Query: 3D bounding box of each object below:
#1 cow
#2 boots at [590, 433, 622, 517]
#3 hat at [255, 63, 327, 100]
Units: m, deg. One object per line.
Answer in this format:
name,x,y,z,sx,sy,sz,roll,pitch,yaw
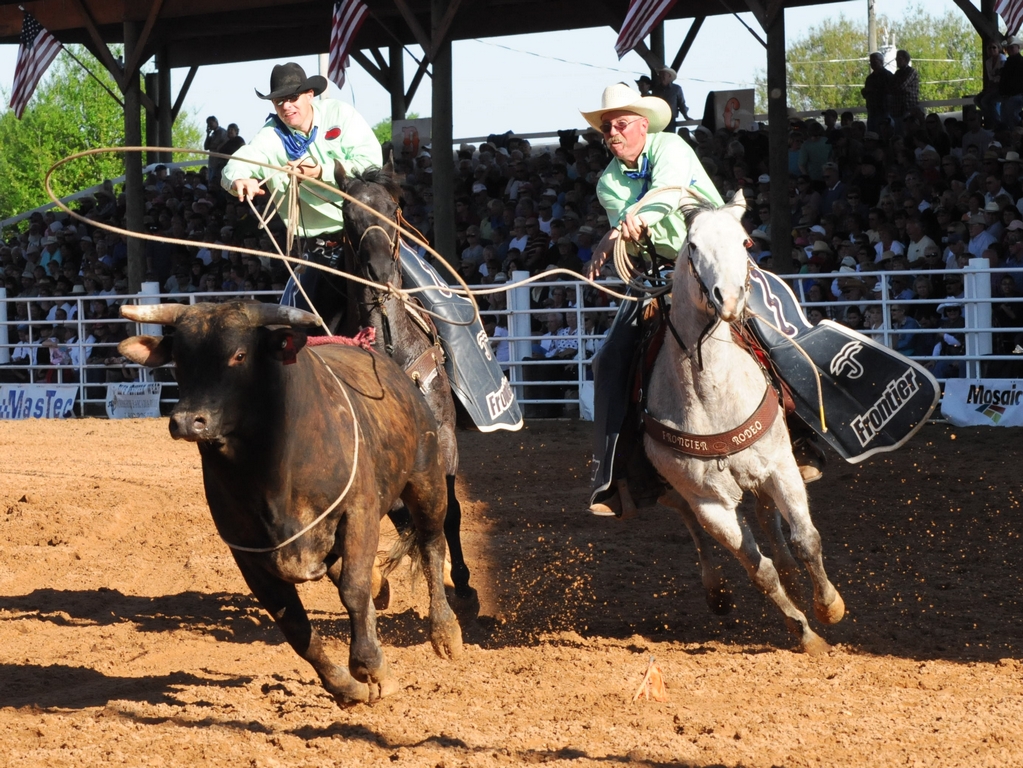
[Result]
cow,-1.462,0.887,12.202,1.011,3.079,2.269,1,6,34
boots,0.755,0.753,13.705,0.256,0.732,0.483,-3,5,2
hat,-1.876,-2.551,14.132,0.545,0.301,1.017,-3,6,-2
